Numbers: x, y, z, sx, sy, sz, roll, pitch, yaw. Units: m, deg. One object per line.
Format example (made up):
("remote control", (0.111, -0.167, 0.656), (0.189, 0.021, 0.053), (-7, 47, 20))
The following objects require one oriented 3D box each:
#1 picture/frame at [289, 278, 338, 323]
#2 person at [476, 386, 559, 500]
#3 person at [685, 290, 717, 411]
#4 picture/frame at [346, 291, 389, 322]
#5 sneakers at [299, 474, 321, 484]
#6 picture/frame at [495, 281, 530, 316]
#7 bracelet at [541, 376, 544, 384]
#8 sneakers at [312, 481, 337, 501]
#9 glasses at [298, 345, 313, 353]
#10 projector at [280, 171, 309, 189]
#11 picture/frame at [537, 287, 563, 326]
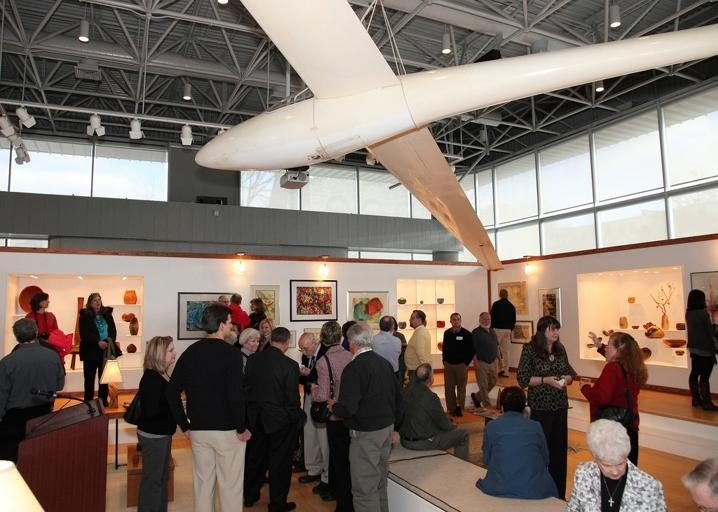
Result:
("picture/frame", (-0.971, 0.899, 11.020), (0.897, 0.657, 0.035), (2, -10, -27))
("person", (1.574, 1.988, 5.587), (0.800, 1.278, 0.868), (-1, -6, 2))
("person", (5.193, 1.419, 8.480), (0.367, 1.795, 0.414), (-3, -4, 30))
("picture/frame", (0.106, 1.031, 11.277), (0.697, 0.489, 0.028), (-2, -3, -22))
("sneakers", (-0.623, 2.698, 6.804), (0.279, 0.117, 0.092), (9, -5, -12))
("picture/frame", (3.291, 0.929, 11.905), (0.036, 0.773, 0.716), (3, -6, -27))
("bracelet", (2.002, 1.364, 6.117), (0.023, 0.074, 0.042), (-2, -3, 16))
("sneakers", (-0.406, 2.672, 6.397), (0.326, 0.228, 0.118), (3, -4, 19))
("glasses", (-0.629, 1.122, 6.631), (0.185, 0.055, 0.172), (8, -9, -29))
("projector", (-1.362, -1.485, 11.295), (0.468, 0.292, 0.445), (2, -8, -25))
("picture/frame", (3.626, 0.941, 10.588), (0.051, 1.003, 0.764), (1, -3, -24))
